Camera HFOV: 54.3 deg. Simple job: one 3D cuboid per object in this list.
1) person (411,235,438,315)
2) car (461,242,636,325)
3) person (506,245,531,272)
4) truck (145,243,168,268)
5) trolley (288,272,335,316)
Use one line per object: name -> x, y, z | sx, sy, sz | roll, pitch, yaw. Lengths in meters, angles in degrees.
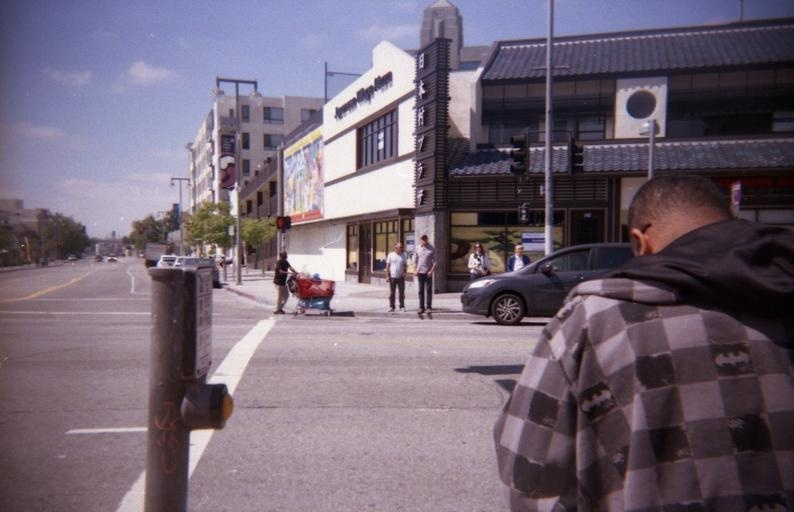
person -> 0.631, 0.447, 18.194 | 0.439, 1.872, 1.005 | 0, 7, 1
car -> 2.951, 0.580, 15.981 | 3.168, 1.417, 1.621 | 0, -2, 11
person -> 3.103, 0.067, 19.802 | 0.657, 0.985, 0.531 | 1, -6, 0
truck -> -19.872, -0.084, 63.670 | 2.160, 2.007, 3.321 | 0, 5, -10
trolley -> -2.013, 0.924, 18.206 | 0.965, 1.000, 1.033 | -1, 7, -8
